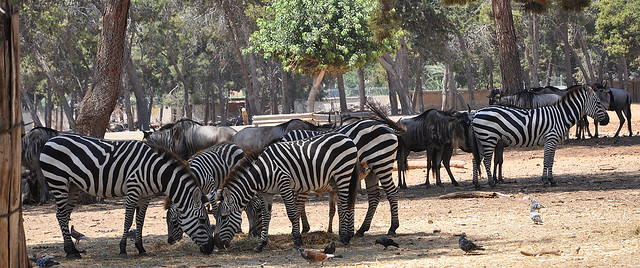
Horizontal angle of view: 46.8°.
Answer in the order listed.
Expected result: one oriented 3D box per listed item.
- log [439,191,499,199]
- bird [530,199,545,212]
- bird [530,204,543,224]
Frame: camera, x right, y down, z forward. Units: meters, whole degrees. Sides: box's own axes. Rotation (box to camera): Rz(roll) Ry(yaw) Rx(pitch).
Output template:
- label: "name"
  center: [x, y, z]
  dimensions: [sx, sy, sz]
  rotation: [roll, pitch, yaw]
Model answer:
- label: "log"
  center: [12.855, 5.263, 63.521]
  dimensions: [4.535, 0.572, 0.332]
  rotation: [-3, -1, 8]
- label: "bird"
  center: [17.654, 5.829, 60.208]
  dimensions: [1.107, 0.483, 0.763]
  rotation: [23, -35, -37]
- label: "bird"
  center: [17.454, 6.645, 60.243]
  dimensions: [0.650, 1.727, 1.013]
  rotation: [-6, 8, 14]
